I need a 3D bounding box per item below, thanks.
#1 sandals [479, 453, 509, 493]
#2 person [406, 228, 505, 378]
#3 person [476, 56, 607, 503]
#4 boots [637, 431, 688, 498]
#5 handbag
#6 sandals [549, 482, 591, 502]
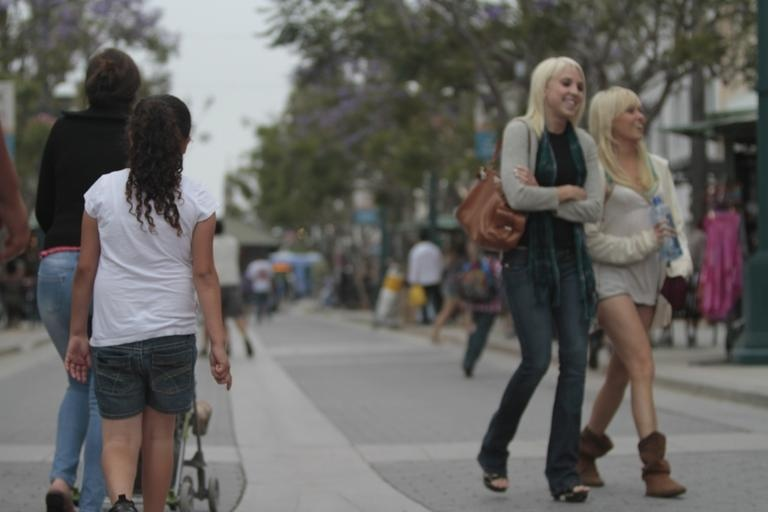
[{"bbox_3d":[0.790,1.548,8.204,0.104,0.159,0.353,1,-7,-8],"label":"sandals"},{"bbox_3d":[0.939,0.642,14.437,0.842,1.263,3.429,12,1,-1],"label":"person"},{"bbox_3d":[1.143,0.136,8.283,0.874,3.127,0.514,-2,2,13],"label":"person"},{"bbox_3d":[1.916,1.476,8.155,0.414,0.583,0.264,0,-8,12],"label":"boots"},{"bbox_3d":[0.761,-0.331,8.222,0.282,0.586,0.522,-4,3,-44],"label":"handbag"},{"bbox_3d":[1.308,1.646,8.083,0.166,0.095,0.141,1,-2,-17],"label":"sandals"}]
